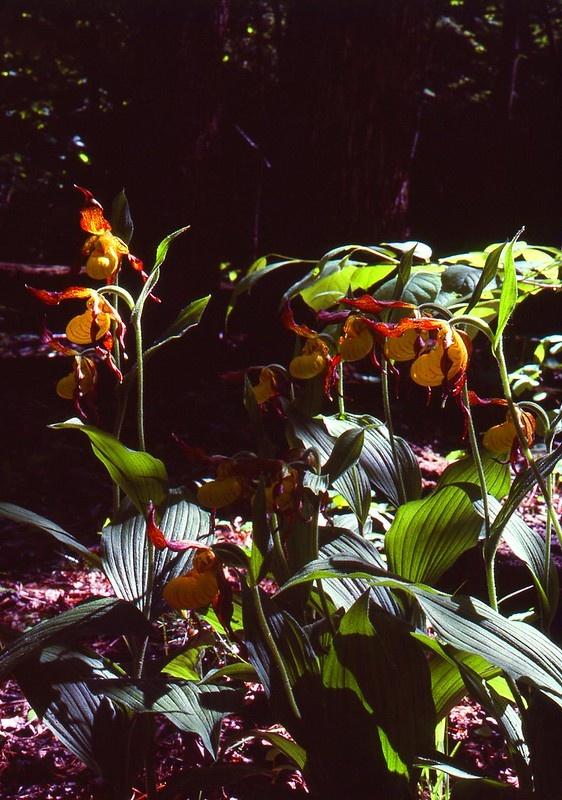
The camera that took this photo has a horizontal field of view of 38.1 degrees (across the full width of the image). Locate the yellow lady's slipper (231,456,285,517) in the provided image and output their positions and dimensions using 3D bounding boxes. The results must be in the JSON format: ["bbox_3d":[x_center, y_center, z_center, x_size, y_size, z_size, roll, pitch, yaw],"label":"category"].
[{"bbox_3d":[-0.046,0.193,1.798,0.118,0.116,0.176,9,7,-15],"label":"yellow lady's slipper"}]

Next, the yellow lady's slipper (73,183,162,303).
[{"bbox_3d":[-0.446,-0.403,2.041,0.134,0.215,0.087,10,8,-14],"label":"yellow lady's slipper"}]

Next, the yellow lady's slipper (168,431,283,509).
[{"bbox_3d":[-0.117,0.172,1.902,0.192,0.162,0.373,-11,1,-32],"label":"yellow lady's slipper"}]

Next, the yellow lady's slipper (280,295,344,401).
[{"bbox_3d":[0.080,-0.116,2.043,0.146,0.216,0.113,-3,8,-11],"label":"yellow lady's slipper"}]

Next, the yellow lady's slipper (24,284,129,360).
[{"bbox_3d":[-0.522,-0.211,2.069,0.243,0.153,0.250,8,7,-20],"label":"yellow lady's slipper"}]

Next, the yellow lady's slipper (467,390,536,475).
[{"bbox_3d":[0.537,0.060,1.936,0.126,0.165,0.171,10,-2,-14],"label":"yellow lady's slipper"}]
